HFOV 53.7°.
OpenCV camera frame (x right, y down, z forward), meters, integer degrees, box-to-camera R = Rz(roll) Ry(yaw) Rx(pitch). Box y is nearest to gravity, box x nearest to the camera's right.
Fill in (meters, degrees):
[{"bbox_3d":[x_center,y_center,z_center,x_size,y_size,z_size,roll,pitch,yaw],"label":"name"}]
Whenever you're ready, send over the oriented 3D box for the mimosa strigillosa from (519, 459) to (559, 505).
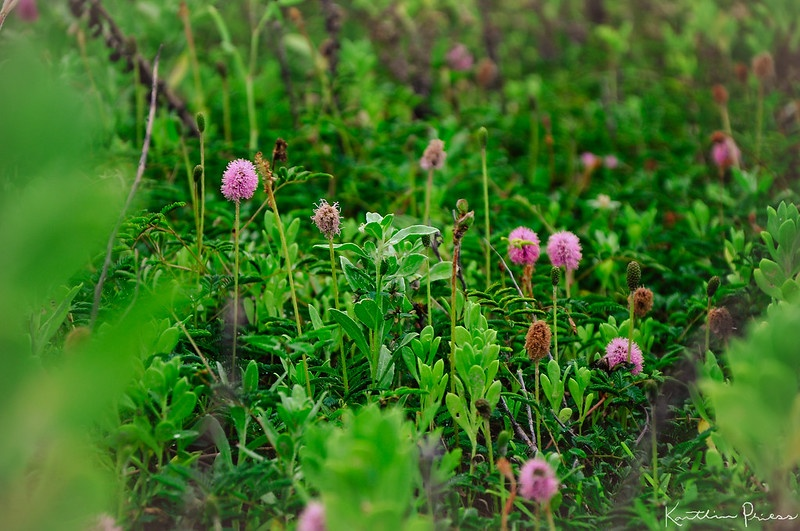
[{"bbox_3d":[0.404,0.637,2.356,0.111,0.107,0.126,6,10,2],"label":"mimosa strigillosa"}]
